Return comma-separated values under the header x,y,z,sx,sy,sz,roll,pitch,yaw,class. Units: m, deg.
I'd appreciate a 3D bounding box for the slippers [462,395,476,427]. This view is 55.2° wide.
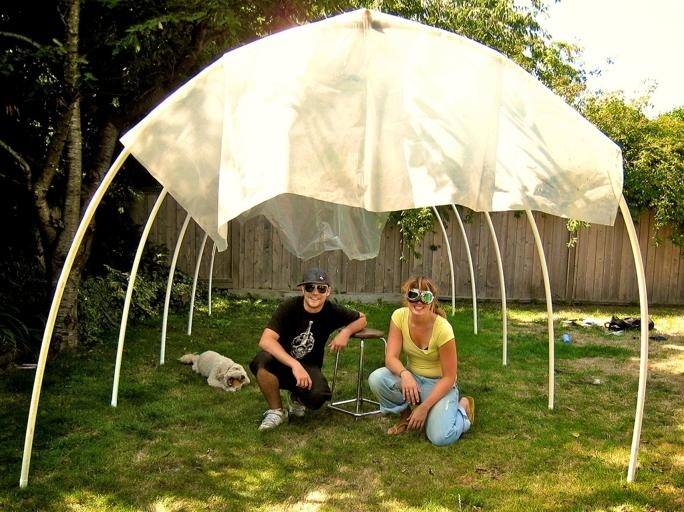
x,y,z,sx,sy,sz,roll,pitch,yaw,class
1.235,1.494,6.401,0.108,0.335,0.102,-5,-1,-39,slippers

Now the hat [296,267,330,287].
x,y,z,sx,sy,sz,roll,pitch,yaw,class
-0.261,0.195,6.388,0.245,0.158,0.265,1,13,-4,hat

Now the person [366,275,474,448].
x,y,z,sx,sy,sz,roll,pitch,yaw,class
0.832,1.157,7.003,1.243,2.108,1.076,-1,-3,39,person

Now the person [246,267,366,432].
x,y,z,sx,sy,sz,roll,pitch,yaw,class
-0.368,0.871,6.400,1.060,1.487,0.572,-2,12,-16,person

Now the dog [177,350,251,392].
x,y,z,sx,sy,sz,roll,pitch,yaw,class
-1.403,1.312,7.459,0.840,0.236,0.403,14,18,41,dog

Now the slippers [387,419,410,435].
x,y,z,sx,sy,sz,roll,pitch,yaw,class
0.530,1.645,6.241,0.087,0.054,0.198,-2,5,35,slippers

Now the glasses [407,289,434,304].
x,y,z,sx,sy,sz,roll,pitch,yaw,class
0.733,0.382,6.114,0.264,0.132,0.107,3,12,3,glasses

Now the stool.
x,y,z,sx,sy,sz,roll,pitch,yaw,class
0.091,1.227,6.937,0.531,0.757,0.548,10,1,-40,stool

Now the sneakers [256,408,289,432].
x,y,z,sx,sy,sz,roll,pitch,yaw,class
-0.677,1.565,6.264,0.108,0.149,0.334,-4,-12,18,sneakers

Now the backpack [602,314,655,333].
x,y,z,sx,sy,sz,roll,pitch,yaw,class
4.573,1.107,10.673,0.897,0.133,0.508,-4,15,-26,backpack
